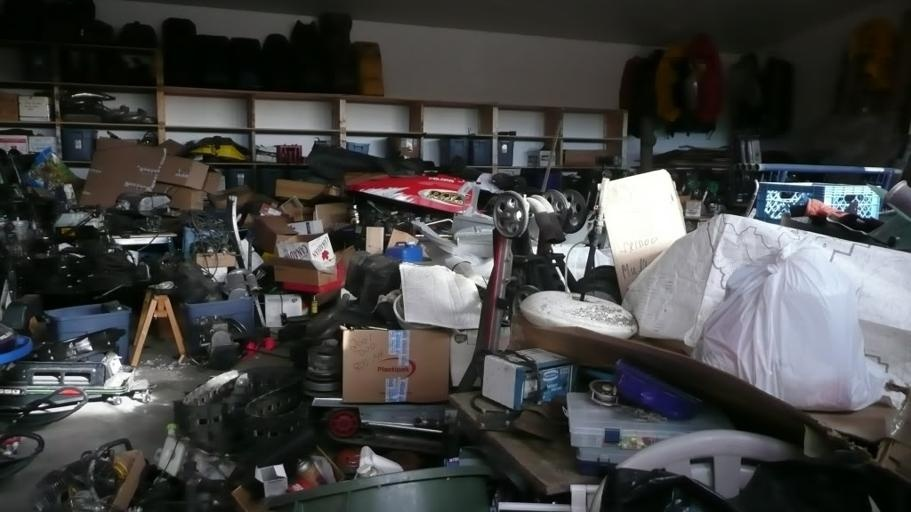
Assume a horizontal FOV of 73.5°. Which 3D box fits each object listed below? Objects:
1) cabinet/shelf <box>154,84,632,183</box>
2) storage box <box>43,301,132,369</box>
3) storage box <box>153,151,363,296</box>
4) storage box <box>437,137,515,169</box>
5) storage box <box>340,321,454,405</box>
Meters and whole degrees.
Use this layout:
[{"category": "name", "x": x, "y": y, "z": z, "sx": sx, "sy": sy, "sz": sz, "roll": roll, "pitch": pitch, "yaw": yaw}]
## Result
[{"category": "cabinet/shelf", "x": -0.952, "y": -1.493, "z": 7.440, "sx": 6.602, "sy": 0.619, "sz": 1.270, "roll": -3, "pitch": 13, "yaw": -16}, {"category": "storage box", "x": -2.718, "y": 0.477, "z": 4.532, "sx": 0.754, "sy": 0.466, "sz": 0.403, "roll": -1, "pitch": 1, "yaw": -38}, {"category": "storage box", "x": -1.730, "y": -0.204, "z": 6.206, "sx": 1.255, "sy": 1.099, "sz": 1.833, "roll": -5, "pitch": 9, "yaw": -19}, {"category": "storage box", "x": 0.275, "y": -1.359, "z": 7.892, "sx": 0.963, "sy": 0.411, "sz": 0.273, "roll": -2, "pitch": 9, "yaw": -2}, {"category": "storage box", "x": -0.361, "y": 0.656, "z": 3.835, "sx": 0.841, "sy": 0.406, "sz": 0.522, "roll": 2, "pitch": -5, "yaw": -1}]
